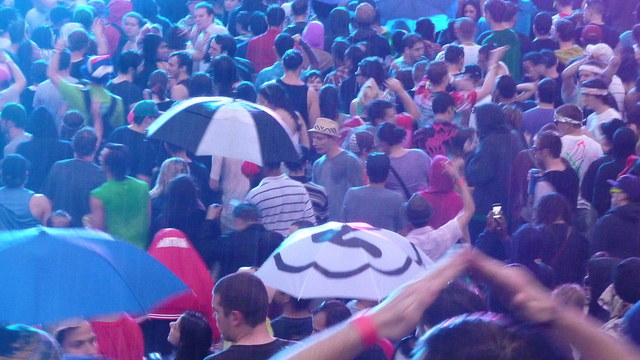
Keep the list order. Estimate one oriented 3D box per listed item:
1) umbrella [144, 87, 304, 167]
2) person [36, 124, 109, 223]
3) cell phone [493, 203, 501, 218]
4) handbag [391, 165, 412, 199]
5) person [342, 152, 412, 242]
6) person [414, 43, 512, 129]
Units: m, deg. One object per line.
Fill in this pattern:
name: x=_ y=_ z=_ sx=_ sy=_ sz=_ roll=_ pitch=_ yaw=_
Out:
umbrella: x=-1.275 y=-0.726 z=12.117 sx=1.373 sy=0.516 sz=1.321 roll=10 pitch=6 yaw=-36
person: x=-3.821 y=-0.060 z=12.814 sx=0.957 sy=1.892 sz=0.601 roll=16 pitch=22 yaw=-14
cell phone: x=2.592 y=0.436 z=12.201 sx=0.111 sy=0.160 sz=0.261 roll=-1 pitch=4 yaw=13
handbag: x=1.262 y=-0.004 z=12.768 sx=0.057 sy=0.578 sz=0.071 roll=-30 pitch=14 yaw=8
person: x=0.845 y=0.252 z=12.177 sx=1.008 sy=1.453 sz=0.763 roll=3 pitch=25 yaw=4
person: x=2.423 y=-1.532 z=13.991 sx=1.041 sy=2.125 sz=0.633 roll=16 pitch=26 yaw=6
